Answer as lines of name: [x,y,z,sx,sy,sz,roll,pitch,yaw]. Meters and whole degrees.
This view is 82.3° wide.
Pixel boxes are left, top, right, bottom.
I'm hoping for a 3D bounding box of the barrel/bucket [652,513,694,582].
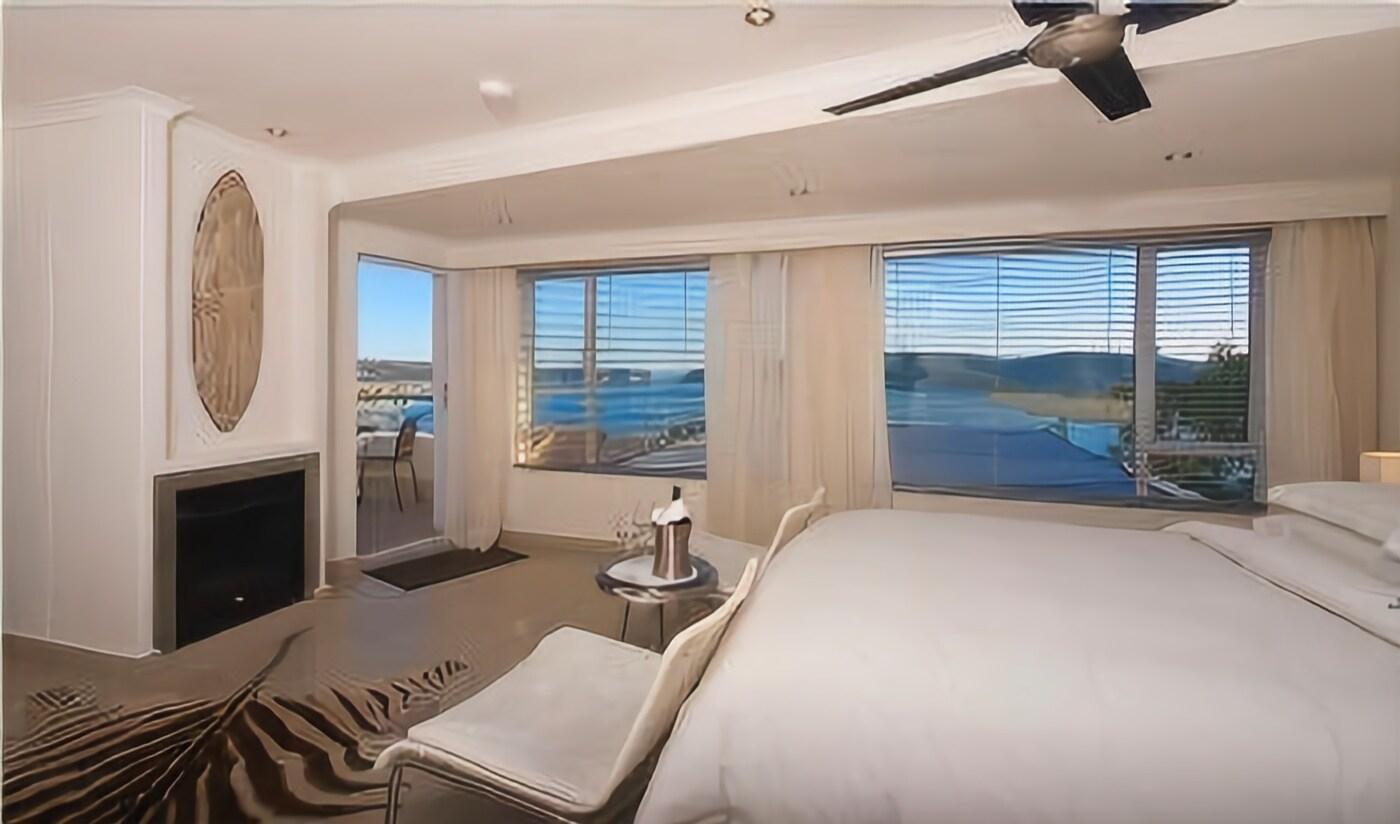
barrel/bucket: [-0.149,0.757,4.638,0.349,0.311,0.312,-1,-1,3]
